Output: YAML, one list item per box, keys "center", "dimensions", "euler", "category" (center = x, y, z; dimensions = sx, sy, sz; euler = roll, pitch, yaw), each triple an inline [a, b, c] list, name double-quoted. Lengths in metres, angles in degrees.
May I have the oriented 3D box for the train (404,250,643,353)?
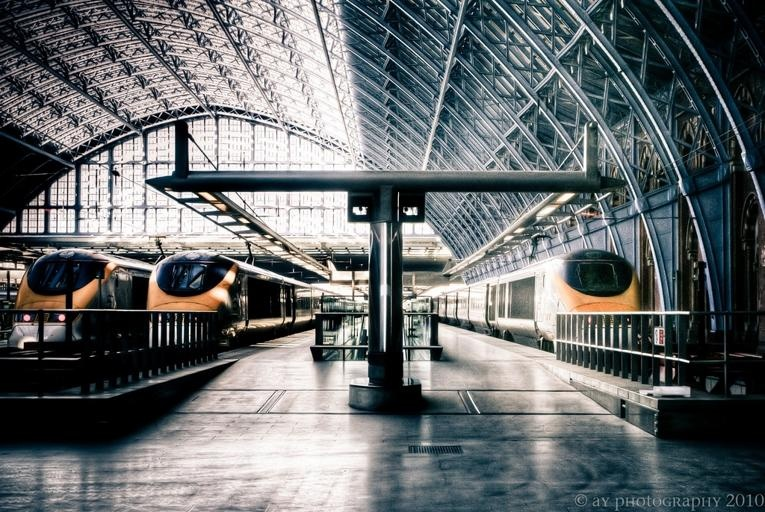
- center: [6.788, 2.589, 32.311]
  dimensions: [2.953, 3.618, 22.451]
  euler: [1, -7, -5]
  category: "train"
